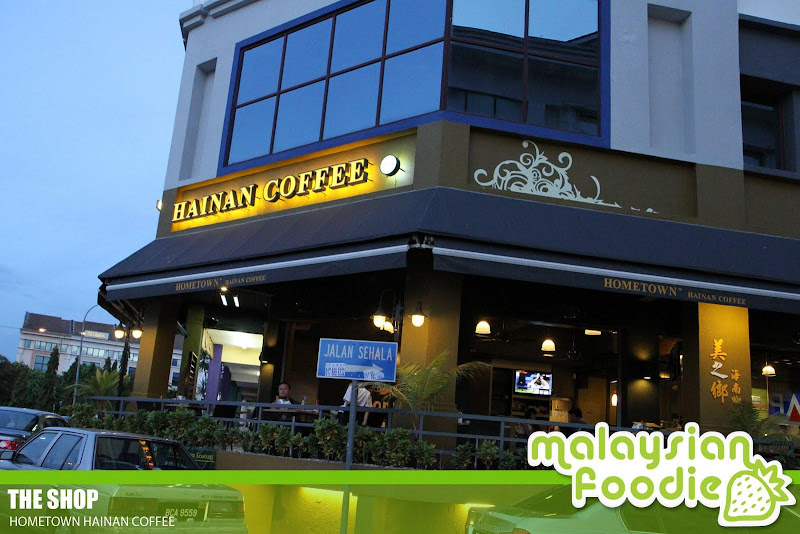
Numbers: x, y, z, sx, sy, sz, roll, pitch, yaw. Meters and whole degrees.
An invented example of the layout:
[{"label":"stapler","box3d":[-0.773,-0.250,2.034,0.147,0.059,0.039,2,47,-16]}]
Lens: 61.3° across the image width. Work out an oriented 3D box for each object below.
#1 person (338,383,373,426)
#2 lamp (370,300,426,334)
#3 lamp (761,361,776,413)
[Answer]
[{"label":"person","box3d":[-1.072,3.083,15.378,0.628,1.523,0.494,-4,22,-16]},{"label":"lamp","box3d":[-0.025,1.203,16.974,1.439,0.718,0.536,-3,-32,13]},{"label":"lamp","box3d":[11.604,3.738,21.322,0.412,1.550,0.766,-4,-18,28]}]
